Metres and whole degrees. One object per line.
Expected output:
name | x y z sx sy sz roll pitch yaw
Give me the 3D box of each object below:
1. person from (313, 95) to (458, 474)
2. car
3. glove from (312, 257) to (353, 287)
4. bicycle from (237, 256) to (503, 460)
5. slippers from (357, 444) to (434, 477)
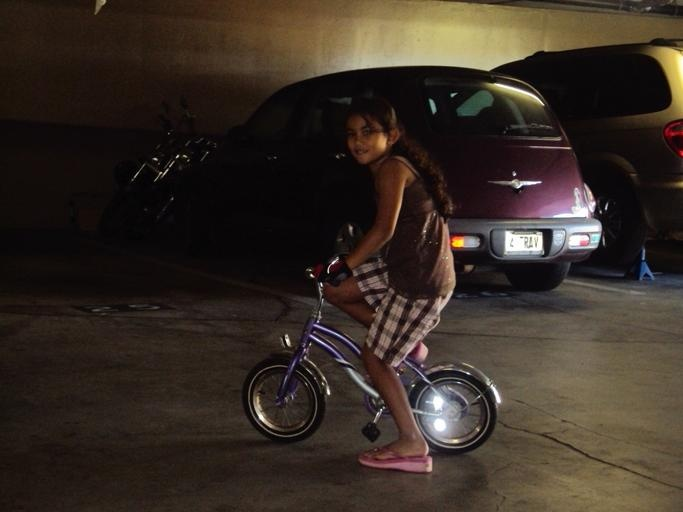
person | 0.232 0.143 2.662 0.587 1.768 0.352 2 9 9
car | 0.429 -1.109 6.784 2.574 1.798 4.235 -5 11 -43
glove | -0.040 0.079 2.588 0.159 0.062 0.125 -9 46 28
bicycle | 0.041 0.542 3.249 1.619 1.059 0.787 3 9 11
slippers | 0.266 0.969 2.688 0.322 0.103 0.132 3 0 15
